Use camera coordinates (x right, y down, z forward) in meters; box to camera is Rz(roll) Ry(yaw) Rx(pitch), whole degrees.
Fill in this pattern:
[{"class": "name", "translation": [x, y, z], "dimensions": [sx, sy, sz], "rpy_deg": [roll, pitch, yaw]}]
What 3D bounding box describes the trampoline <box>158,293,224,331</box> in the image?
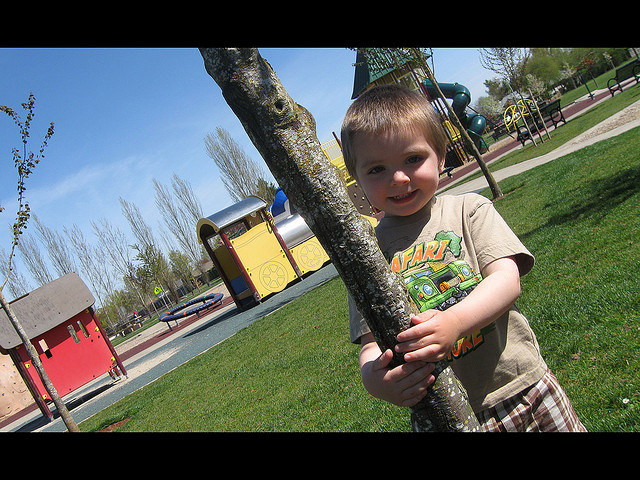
[{"class": "trampoline", "translation": [-6.909, 3.657, 22.266], "dimensions": [3.118, 0.800, 3.222], "rpy_deg": [-26, 4, 2]}]
